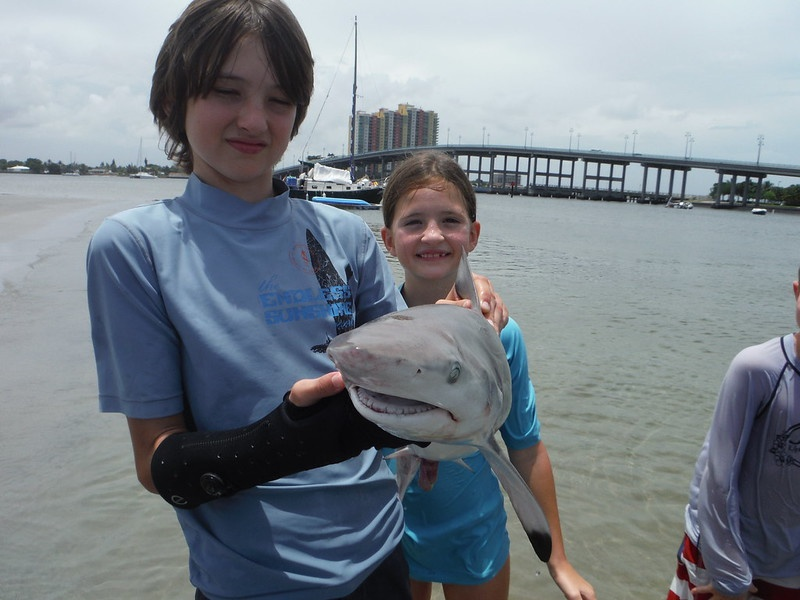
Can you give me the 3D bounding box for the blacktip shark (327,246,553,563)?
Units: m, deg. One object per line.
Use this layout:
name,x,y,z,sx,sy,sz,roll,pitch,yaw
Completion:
blacktip shark,0.210,0.280,2.339,0.647,1.108,1.627,-1,-4,26

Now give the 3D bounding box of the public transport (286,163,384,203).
public transport,-5.324,-9.373,46.678,8.904,3.007,2.461,4,20,0
